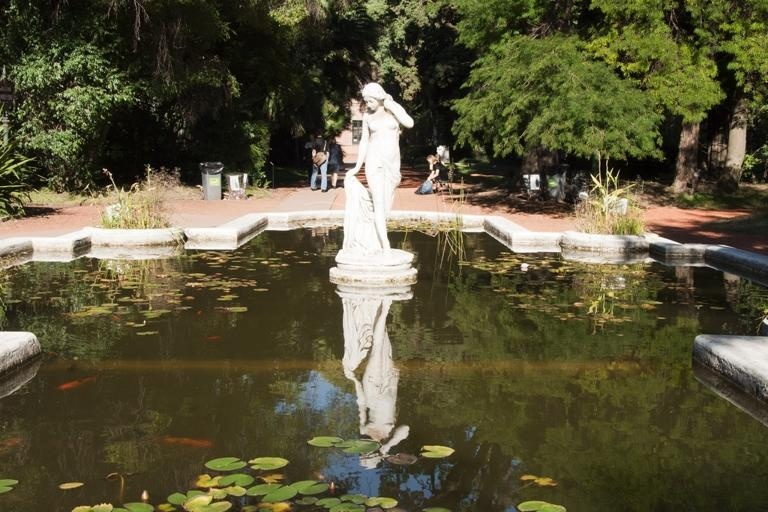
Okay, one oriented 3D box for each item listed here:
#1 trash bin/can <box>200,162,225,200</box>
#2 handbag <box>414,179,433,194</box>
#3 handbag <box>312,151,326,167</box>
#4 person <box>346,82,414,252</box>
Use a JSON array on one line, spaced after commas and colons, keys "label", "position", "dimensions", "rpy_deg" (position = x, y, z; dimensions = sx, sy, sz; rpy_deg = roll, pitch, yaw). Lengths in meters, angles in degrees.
[{"label": "trash bin/can", "position": [-5.205, -2.264, 20.487], "dimensions": [0.645, 1.093, 0.412], "rpy_deg": [-5, 12, -14]}, {"label": "handbag", "position": [1.378, -2.402, 23.278], "dimensions": [0.595, 0.537, 0.813], "rpy_deg": [-2, 12, 0]}, {"label": "handbag", "position": [-2.220, -3.351, 23.409], "dimensions": [0.363, 0.189, 0.519], "rpy_deg": [5, 33, 17]}, {"label": "person", "position": [-0.092, -1.392, 11.101], "dimensions": [1.117, 2.848, 0.751], "rpy_deg": [1, 2, 4]}]
